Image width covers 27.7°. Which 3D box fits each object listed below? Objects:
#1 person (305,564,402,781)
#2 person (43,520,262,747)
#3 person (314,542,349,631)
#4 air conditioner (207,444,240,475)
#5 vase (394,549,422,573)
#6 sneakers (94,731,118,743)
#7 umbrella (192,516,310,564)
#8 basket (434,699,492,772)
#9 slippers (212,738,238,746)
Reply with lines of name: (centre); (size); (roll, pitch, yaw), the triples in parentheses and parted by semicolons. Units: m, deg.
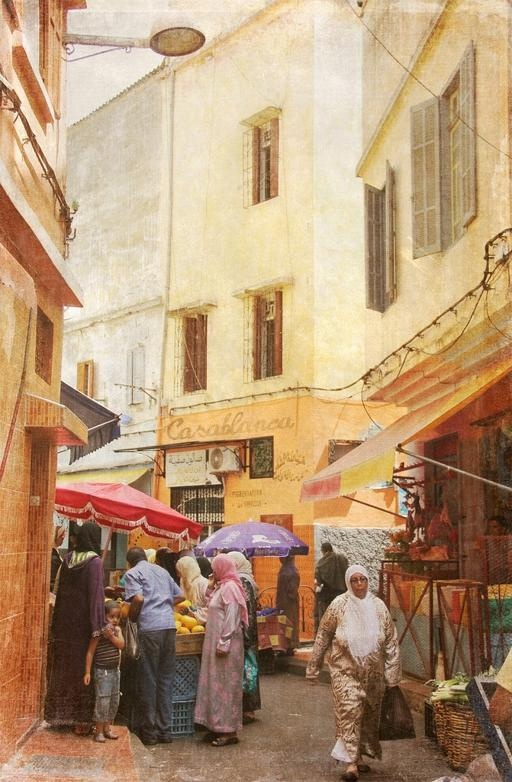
person: (0.583, 1.854, 6.901); (0.596, 1.361, 0.590); (-10, -18, 42)
person: (-1.055, 1.833, 7.780); (0.710, 1.545, 1.050); (-9, -17, 38)
person: (0.882, 2.404, 12.186); (0.427, 1.167, 0.411); (5, -12, -17)
air conditioner: (-0.446, 1.113, 16.834); (0.439, 0.474, 0.112); (6, 4, 30)
vase: (1.462, 1.668, 10.082); (0.209, 0.239, 0.504); (3, -15, -4)
sneakers: (-1.041, 2.420, 7.200); (0.186, 0.095, 0.063); (-17, -22, 25)
umbrella: (0.020, 1.889, 13.063); (0.955, 0.403, 0.995); (-4, -17, 15)
basket: (1.244, 2.188, 6.608); (0.386, 0.456, 0.403); (7, -12, -44)
slippers: (-0.218, 2.586, 7.591); (0.179, 0.054, 0.072); (17, -24, -25)
